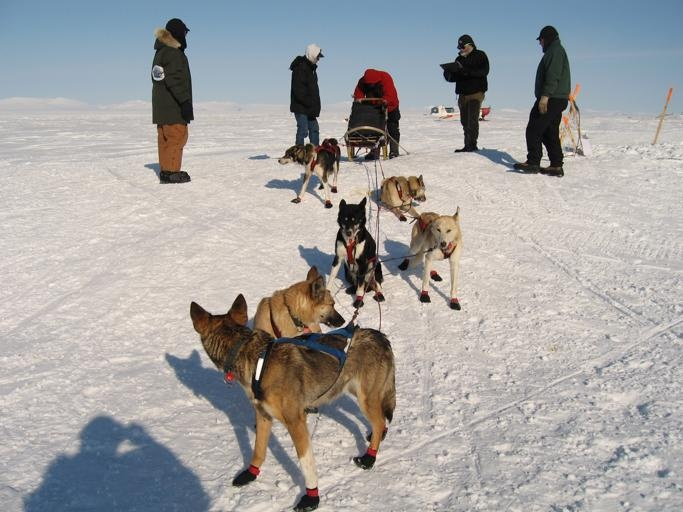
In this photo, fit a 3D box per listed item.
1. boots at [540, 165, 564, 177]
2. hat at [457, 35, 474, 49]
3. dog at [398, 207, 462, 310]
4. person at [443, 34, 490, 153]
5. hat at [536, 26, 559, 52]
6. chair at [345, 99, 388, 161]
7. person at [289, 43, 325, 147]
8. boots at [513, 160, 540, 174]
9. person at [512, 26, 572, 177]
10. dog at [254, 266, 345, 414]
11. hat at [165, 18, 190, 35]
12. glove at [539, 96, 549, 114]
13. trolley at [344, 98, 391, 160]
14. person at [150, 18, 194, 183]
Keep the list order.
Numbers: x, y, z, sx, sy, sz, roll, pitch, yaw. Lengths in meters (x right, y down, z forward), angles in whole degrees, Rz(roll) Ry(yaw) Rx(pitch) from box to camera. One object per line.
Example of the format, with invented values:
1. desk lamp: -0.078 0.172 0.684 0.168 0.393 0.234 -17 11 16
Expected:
1. boots: 4.904 -1.983 13.860 0.227 0.210 0.627 -16 25 -34
2. hat: 3.026 -5.193 14.481 0.339 0.294 0.488 5 18 11
3. dog: 1.455 -0.098 9.653 0.897 1.360 2.371 3 11 -5
4. person: 3.101 -3.997 15.029 0.986 2.903 1.088 5 21 8
5. hat: 4.455 -4.655 12.791 0.367 0.524 0.785 8 19 16
6. chair: 0.654 -3.041 14.657 1.197 1.201 1.633 1 19 13
7. person: -0.847 -3.740 14.024 0.725 2.297 0.973 0 21 -5
8. boots: 4.380 -2.072 13.939 0.694 0.242 0.226 9 33 31
9. person: 4.609 -3.366 13.204 1.032 3.233 0.908 8 22 16
10. dog: -0.546 0.742 7.264 1.354 0.942 0.819 6 7 38
11. hat: -3.404 -4.725 12.263 0.412 0.252 0.421 -4 18 -16
12. glove: 4.355 -3.256 12.844 0.155 0.302 0.242 10 -18 -4
13. trolley: 0.610 -2.958 15.045 1.103 1.133 1.467 -1 1 7
14. person: -3.590 -3.207 12.615 0.826 3.377 0.671 -3 22 -12
